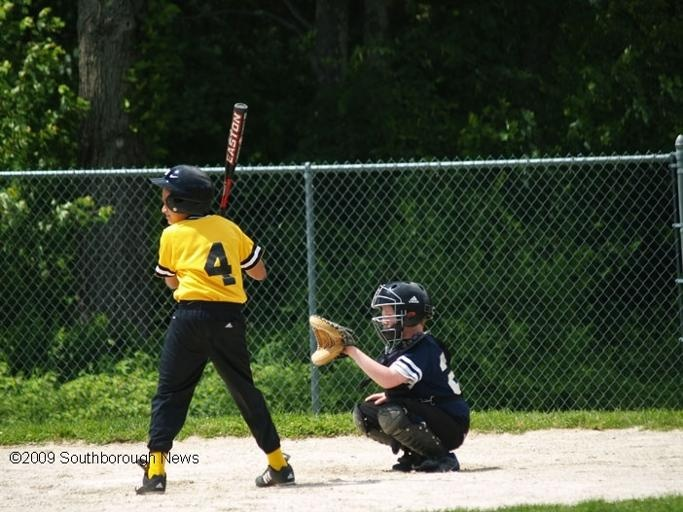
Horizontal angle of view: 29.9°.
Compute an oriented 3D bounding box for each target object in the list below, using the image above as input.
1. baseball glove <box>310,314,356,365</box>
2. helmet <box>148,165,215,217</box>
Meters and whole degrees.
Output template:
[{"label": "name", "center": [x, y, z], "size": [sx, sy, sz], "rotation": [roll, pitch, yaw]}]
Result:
[{"label": "baseball glove", "center": [-0.114, 0.793, 12.494], "size": [0.234, 0.335, 0.719], "rotation": [-22, -30, 20]}, {"label": "helmet", "center": [-1.550, -0.681, 12.494], "size": [0.647, 0.478, 0.492], "rotation": [7, 9, -5]}]
